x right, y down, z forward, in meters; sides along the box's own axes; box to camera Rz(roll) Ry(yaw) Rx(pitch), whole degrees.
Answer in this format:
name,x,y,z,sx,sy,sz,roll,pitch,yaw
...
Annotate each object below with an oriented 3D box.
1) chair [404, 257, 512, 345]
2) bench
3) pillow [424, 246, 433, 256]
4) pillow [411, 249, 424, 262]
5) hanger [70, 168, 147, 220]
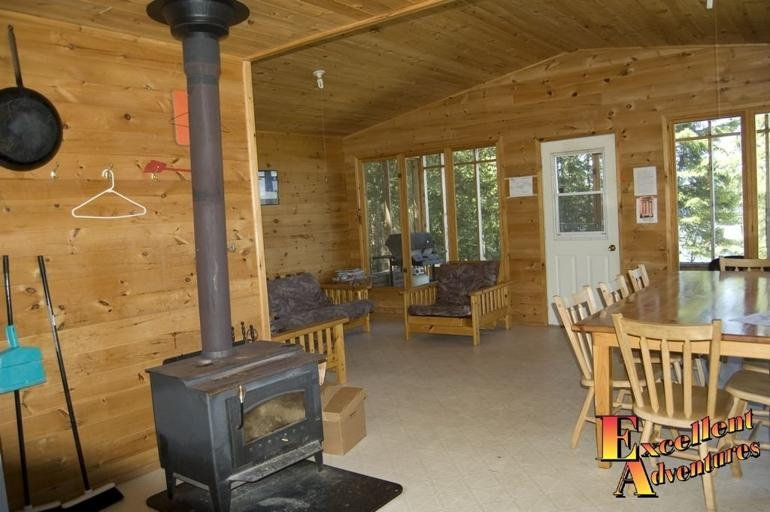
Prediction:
name,x,y,z,sx,sy,sz,roll,pitch,yaw
chair,0.884,0.579,6.983,1.327,0.802,1.353,-1,1,33
bench,-0.910,0.601,6.641,0.862,0.410,1.146,2,5,40
pillow,0.654,-0.083,7.825,0.133,0.124,0.141,0,0,35
pillow,0.480,-0.012,7.940,0.205,0.188,0.204,-2,-3,28
hanger,-1.921,-0.431,3.552,0.015,0.281,0.488,-1,1,43
